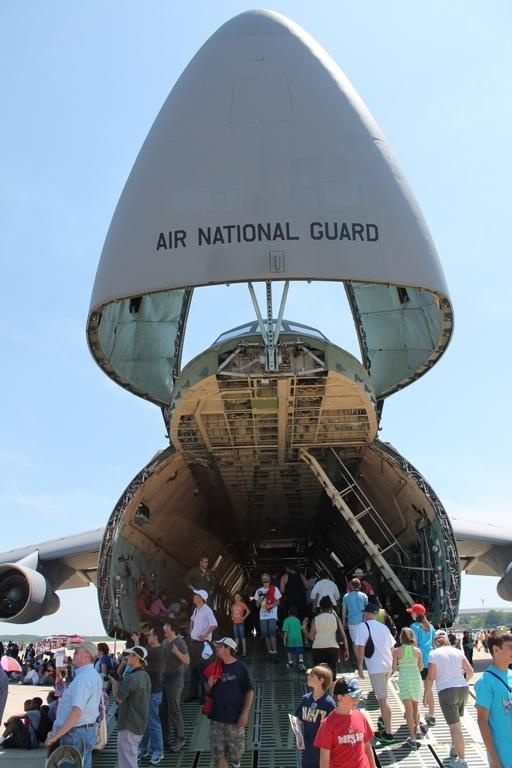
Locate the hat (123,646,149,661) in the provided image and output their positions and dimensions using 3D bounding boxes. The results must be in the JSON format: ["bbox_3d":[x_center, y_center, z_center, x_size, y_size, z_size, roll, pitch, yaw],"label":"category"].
[{"bbox_3d":[-1.286,2.933,7.053,0.181,0.158,0.417,2,-23,-12],"label":"hat"}]

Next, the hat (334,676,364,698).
[{"bbox_3d":[0.689,2.258,4.835,0.201,0.121,0.147,4,-3,10],"label":"hat"}]

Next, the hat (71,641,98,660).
[{"bbox_3d":[-1.577,2.473,5.991,0.150,0.191,0.170,9,-35,-23],"label":"hat"}]
